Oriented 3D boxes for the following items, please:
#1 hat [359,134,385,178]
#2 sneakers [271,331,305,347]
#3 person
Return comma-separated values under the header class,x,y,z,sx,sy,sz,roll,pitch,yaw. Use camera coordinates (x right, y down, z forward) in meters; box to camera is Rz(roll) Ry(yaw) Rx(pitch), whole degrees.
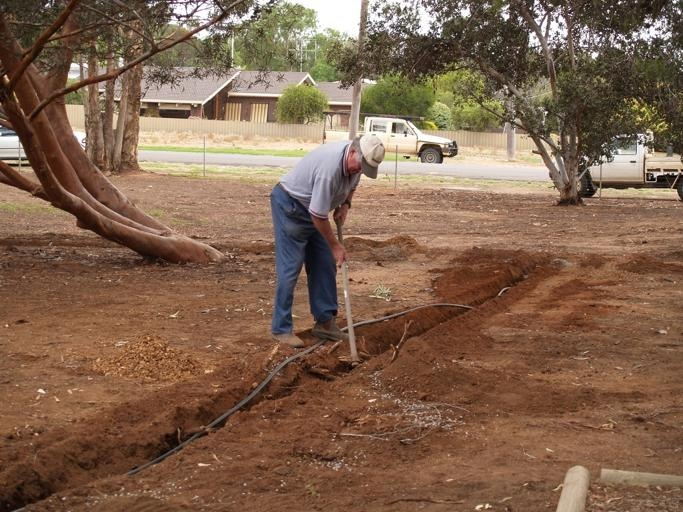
class,x,y,z,sx,sy,sz,roll,pitch,yaw
hat,0.275,-0.966,5.678,0.223,0.438,0.611,1,4,2
sneakers,-0.541,0.846,6.111,0.292,0.092,0.131,2,3,27
person,-0.201,-0.137,5.993,0.912,2.091,1.092,0,5,-16
